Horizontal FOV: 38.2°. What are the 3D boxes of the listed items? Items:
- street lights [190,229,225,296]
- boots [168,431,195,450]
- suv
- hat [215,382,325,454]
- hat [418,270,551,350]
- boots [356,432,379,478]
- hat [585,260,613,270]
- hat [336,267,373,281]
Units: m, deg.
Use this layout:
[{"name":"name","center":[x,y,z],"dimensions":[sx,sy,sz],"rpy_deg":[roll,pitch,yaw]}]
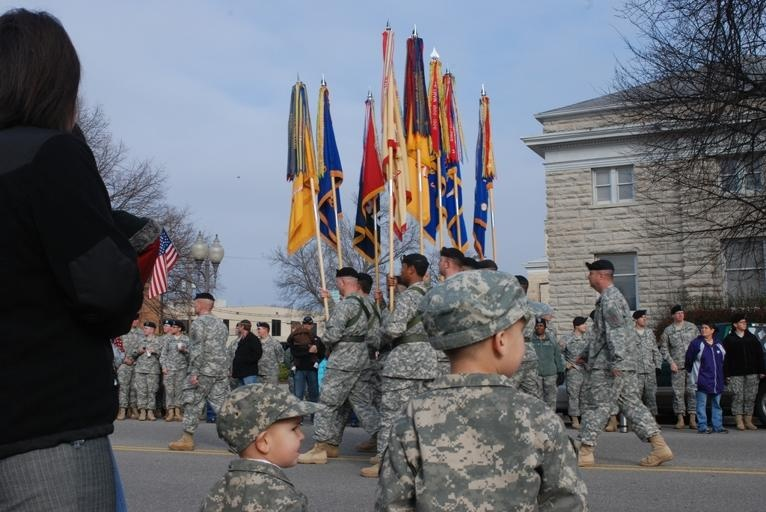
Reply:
[{"name":"street lights","center":[-4.299,0.339,27.288],"dimensions":[0.902,1.592,0.481],"rpy_deg":[3,3,-15]},{"name":"boots","center":[-3.380,3.138,18.766],"dimensions":[0.421,0.312,0.378],"rpy_deg":[0,-5,-11]},{"name":"suv","center":[6.422,2.499,24.522],"dimensions":[4.452,1.959,2.219],"rpy_deg":[-1,-9,22]},{"name":"hat","center":[-1.188,1.697,11.731],"dimensions":[0.992,0.517,0.695],"rpy_deg":[-24,6,-12]},{"name":"hat","center":[0.988,0.491,10.971],"dimensions":[1.010,0.523,0.741],"rpy_deg":[-18,14,-21]},{"name":"boots","center":[-0.129,3.202,17.048],"dimensions":[0.235,0.487,0.662],"rpy_deg":[-6,-13,24]},{"name":"hat","center":[3.514,0.149,17.310],"dimensions":[0.328,0.123,0.236],"rpy_deg":[1,-2,25]},{"name":"hat","center":[-0.423,0.280,17.718],"dimensions":[0.355,0.137,0.258],"rpy_deg":[3,-8,-10]}]
